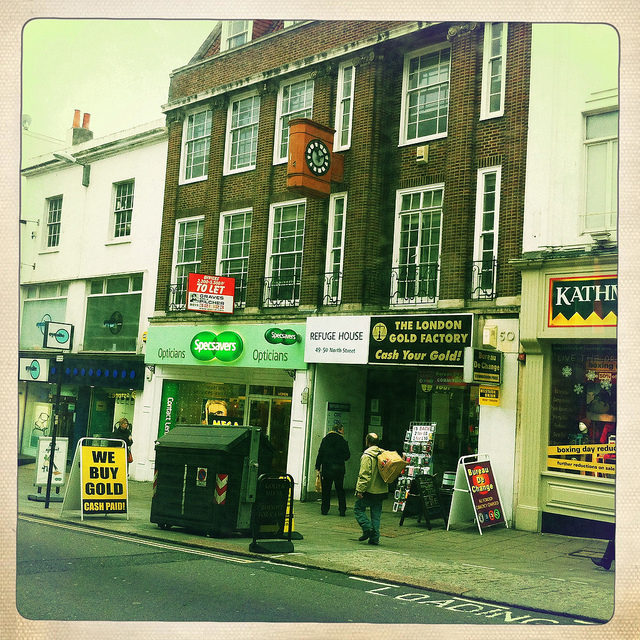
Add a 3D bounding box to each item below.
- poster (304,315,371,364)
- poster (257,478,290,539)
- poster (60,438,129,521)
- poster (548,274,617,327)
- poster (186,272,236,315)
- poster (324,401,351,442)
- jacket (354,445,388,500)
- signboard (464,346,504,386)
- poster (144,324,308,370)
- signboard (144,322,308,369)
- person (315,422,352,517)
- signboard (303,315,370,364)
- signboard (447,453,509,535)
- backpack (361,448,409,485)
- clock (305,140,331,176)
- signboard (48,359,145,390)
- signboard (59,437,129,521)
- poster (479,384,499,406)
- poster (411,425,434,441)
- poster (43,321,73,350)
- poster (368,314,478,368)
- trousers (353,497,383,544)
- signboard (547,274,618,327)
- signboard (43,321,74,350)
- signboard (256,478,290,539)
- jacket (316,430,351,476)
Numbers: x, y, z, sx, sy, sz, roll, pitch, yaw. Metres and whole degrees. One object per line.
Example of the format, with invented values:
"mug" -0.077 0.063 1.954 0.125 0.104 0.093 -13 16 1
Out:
"poster" 0.188 0.297 17.316 1.516 0.995 0.864 0 13 -30
"poster" -0.652 2.534 11.061 0.050 0.934 0.657 -13 -23 41
"poster" -3.474 2.470 12.948 0.871 1.325 0.695 10 -9 -39
"poster" 4.224 -0.313 13.070 0.037 0.609 0.793 1 -2 -42
"poster" -2.548 -0.622 19.292 0.035 0.744 0.998 -1 -4 44
"poster" 0.329 2.136 17.331 0.037 0.920 0.775 -6 -14 35
"jacket" 0.765 2.241 11.967 0.459 0.778 0.350 3 -4 -3
"signboard" 2.771 0.788 13.898 0.128 0.605 1.004 0 -7 43
"poster" -2.244 0.616 19.934 4.782 1.057 0.721 0 1 31
"signboard" -2.255 0.611 19.926 4.667 1.035 0.682 -1 2 29
"person" 0.229 2.810 15.424 0.601 1.659 0.537 2 -4 1
"signboard" 0.361 0.389 17.010 0.880 1.081 1.574 10 -10 -43
"signboard" 2.594 2.845 13.569 0.880 1.261 0.733 -1 -3 -28
"backpack" 0.933 2.165 11.948 0.588 0.489 0.339 3 -4 -3
"clock" -0.054 -3.444 17.323 0.147 0.690 0.902 0 -5 31
"signboard" -6.015 1.475 22.702 2.732 0.806 0.810 -1 -6 40
"signboard" -3.471 2.446 12.988 0.879 1.299 0.760 5 -1 -23
"poster" 2.946 1.303 14.253 0.327 0.371 0.119 -4 -11 30
"poster" 1.855 2.061 14.920 0.420 0.277 0.275 0 -5 25
"poster" -5.038 0.286 15.670 0.662 0.662 0.253 2 -3 -22
"poster" 1.863 0.373 15.387 0.237 0.977 2.474 6 -6 -40
"trousers" 0.716 2.782 12.036 0.391 0.858 0.354 5 22 9
"signboard" 4.195 -0.309 12.983 0.037 0.603 0.784 2 -3 -44
"signboard" -5.110 0.291 15.951 0.617 0.616 0.606 2 -8 -9
"signboard" -0.649 2.538 11.096 0.616 0.888 0.038 9 -14 -33
"jacket" 0.235 2.522 15.424 0.592 0.897 0.375 3 -4 -3
